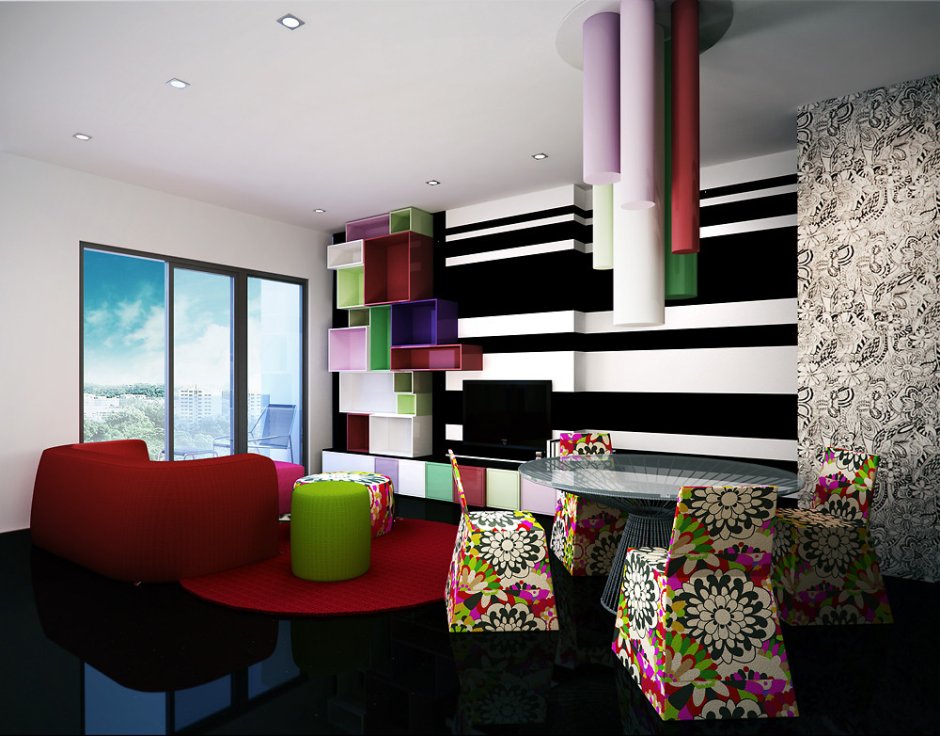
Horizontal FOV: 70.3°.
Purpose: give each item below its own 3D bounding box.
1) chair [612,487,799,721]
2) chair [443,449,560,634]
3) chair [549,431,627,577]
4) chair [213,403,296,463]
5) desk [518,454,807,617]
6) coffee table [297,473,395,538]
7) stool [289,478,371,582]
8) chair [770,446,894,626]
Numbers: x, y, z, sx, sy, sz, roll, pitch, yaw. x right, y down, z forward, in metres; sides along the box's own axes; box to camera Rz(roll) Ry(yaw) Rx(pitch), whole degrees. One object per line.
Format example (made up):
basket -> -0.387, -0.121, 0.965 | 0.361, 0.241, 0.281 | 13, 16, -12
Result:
chair -> 1.183, 1.069, 3.467 | 0.717, 1.052, 0.847 | 1, 2, -13
chair -> 0.016, 1.046, 4.473 | 0.879, 1.357, 0.887 | 0, -1, -7
chair -> 0.893, 0.978, 4.969 | 0.628, 0.957, 0.643 | 2, 1, 44
chair -> -2.281, 0.858, 7.526 | 0.550, 0.874, 0.662 | 2, -1, 27
desk -> 1.227, 1.114, 4.489 | 1.788, 0.990, 1.809 | 1, -9, 12
coffee table -> -0.886, 1.037, 5.459 | 0.596, 0.323, 0.600 | 1, 1, -43
stool -> -0.887, 1.103, 4.622 | 0.554, 0.624, 0.579 | 1, 0, 0
chair -> 2.223, 1.068, 4.324 | 0.730, 0.974, 0.768 | -5, -4, 32
